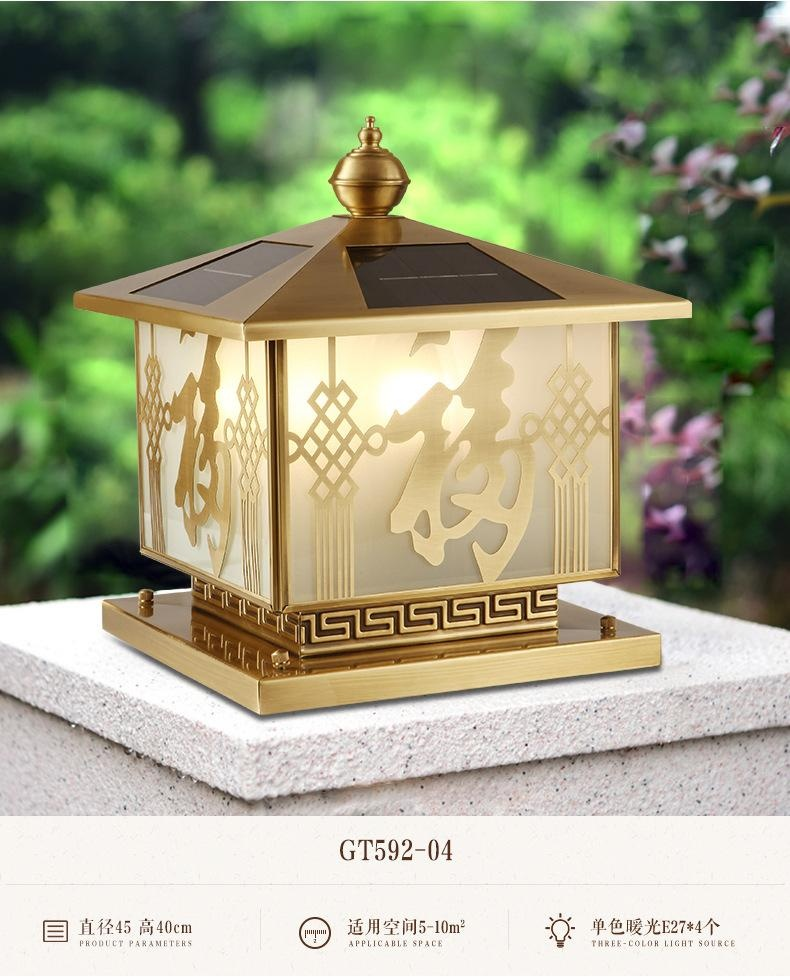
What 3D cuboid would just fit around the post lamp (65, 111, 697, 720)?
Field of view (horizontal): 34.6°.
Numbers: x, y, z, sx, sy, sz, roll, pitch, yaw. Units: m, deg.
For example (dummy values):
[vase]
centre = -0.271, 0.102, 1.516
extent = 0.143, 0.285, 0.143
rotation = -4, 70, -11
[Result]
[post lamp]
centre = 0.086, -0.130, 2.084
extent = 0.991, 0.872, 0.934
rotation = -3, 6, -31
